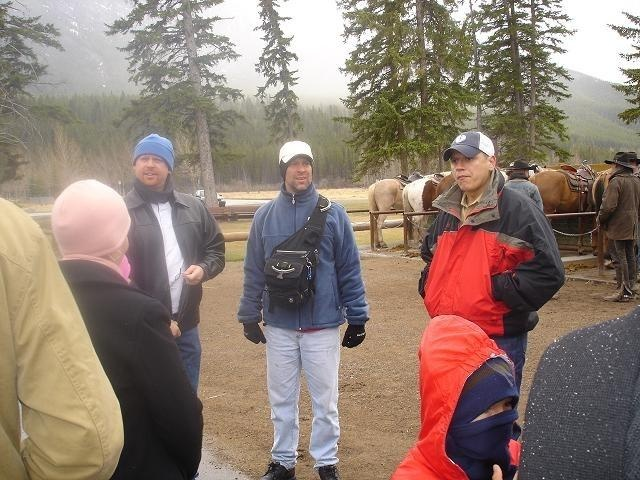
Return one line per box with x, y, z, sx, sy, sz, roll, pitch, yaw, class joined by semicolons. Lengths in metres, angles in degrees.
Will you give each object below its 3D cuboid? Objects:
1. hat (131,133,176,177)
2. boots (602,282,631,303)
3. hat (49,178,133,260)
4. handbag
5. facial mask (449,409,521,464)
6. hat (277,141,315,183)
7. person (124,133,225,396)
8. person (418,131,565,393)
-1.239;-0.626;4.280;0.277;0.254;0.302;8;7;-7;hat
4.444;0.769;8.591;0.384;0.413;0.206;3;10;22;boots
-1.027;-0.088;2.564;0.271;0.368;0.372;5;4;35;hat
-0.133;0.088;4.110;0.298;0.773;0.485;5;7;41;handbag
0.682;0.843;2.426;0.280;0.237;0.060;-1;6;-5;facial mask
-0.200;-0.615;4.296;0.202;0.335;0.160;-3;17;-20;hat
-1.030;0.010;4.214;0.706;2.016;0.673;1;2;30;person
1.160;0.048;3.837;0.942;1.737;0.847;-7;17;-38;person
